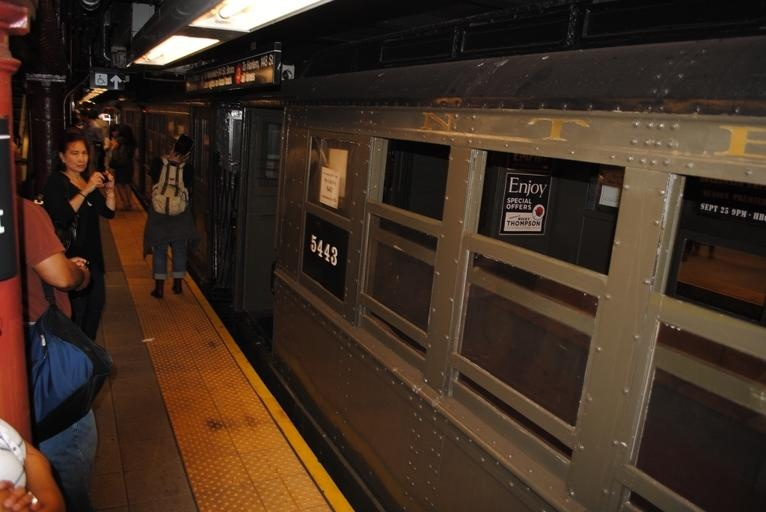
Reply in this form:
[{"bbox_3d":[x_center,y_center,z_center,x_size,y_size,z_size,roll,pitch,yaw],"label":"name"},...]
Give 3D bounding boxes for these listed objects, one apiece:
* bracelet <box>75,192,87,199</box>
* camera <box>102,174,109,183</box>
[{"bbox_3d":[-2.728,-0.550,4.148,0.058,0.056,0.014,-1,-25,-7],"label":"bracelet"},{"bbox_3d":[-2.592,-0.725,4.268,0.039,0.091,0.097,-2,17,-20],"label":"camera"}]
